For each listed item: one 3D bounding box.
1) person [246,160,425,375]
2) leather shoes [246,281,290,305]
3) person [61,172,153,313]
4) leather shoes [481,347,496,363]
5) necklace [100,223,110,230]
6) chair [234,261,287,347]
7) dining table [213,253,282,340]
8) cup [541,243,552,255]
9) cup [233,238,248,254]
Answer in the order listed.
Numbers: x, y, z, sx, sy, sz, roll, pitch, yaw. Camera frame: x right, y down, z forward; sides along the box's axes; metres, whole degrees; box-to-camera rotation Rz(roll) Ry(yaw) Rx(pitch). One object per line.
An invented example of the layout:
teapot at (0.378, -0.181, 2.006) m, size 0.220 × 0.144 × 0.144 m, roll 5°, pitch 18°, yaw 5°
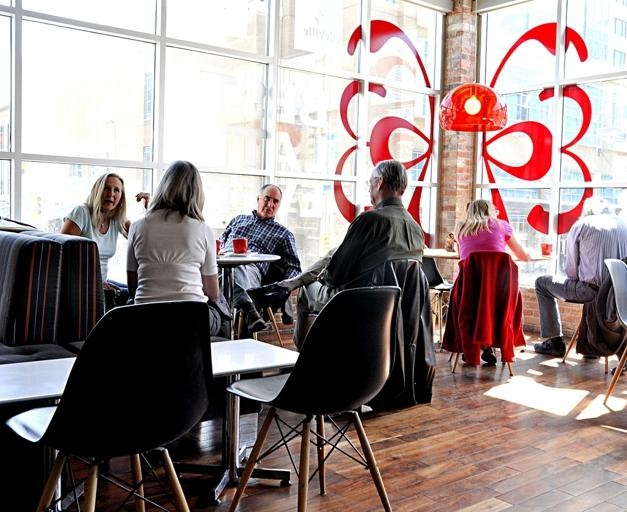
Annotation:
person at (0.254, 0.199, 3.871) m, size 0.639 × 1.687 × 0.952 m, roll 11°, pitch -9°, yaw -35°
leather shoes at (-0.317, 0.301, 4.322) m, size 0.244 × 0.112 × 0.224 m, roll -8°, pitch -2°, yaw 36°
person at (-1.586, -0.008, 4.176) m, size 0.600 × 1.235 × 0.493 m, roll 6°, pitch -4°, yaw 17°
leather shoes at (1.593, 0.910, 5.059) m, size 0.101 × 0.168 × 0.065 m, roll -3°, pitch -2°, yaw -2°
necklace at (-1.596, -0.224, 4.235) m, size 0.010 × 0.054 × 0.050 m, roll -4°, pitch 1°, yaw 34°
chair at (-0.440, 0.554, 4.516) m, size 0.327 × 0.539 × 0.353 m, roll -9°, pitch 7°, yaw -11°
dining table at (-0.613, 0.342, 4.027) m, size 0.596 × 0.684 × 0.603 m, roll 1°, pitch -7°, yaw -35°
cup at (2.362, -0.078, 5.636) m, size 0.089 × 0.103 × 0.118 m, roll 1°, pitch -3°, yaw -13°
cup at (-0.517, -0.068, 3.986) m, size 0.097 × 0.107 × 0.097 m, roll 1°, pitch -4°, yaw 0°
